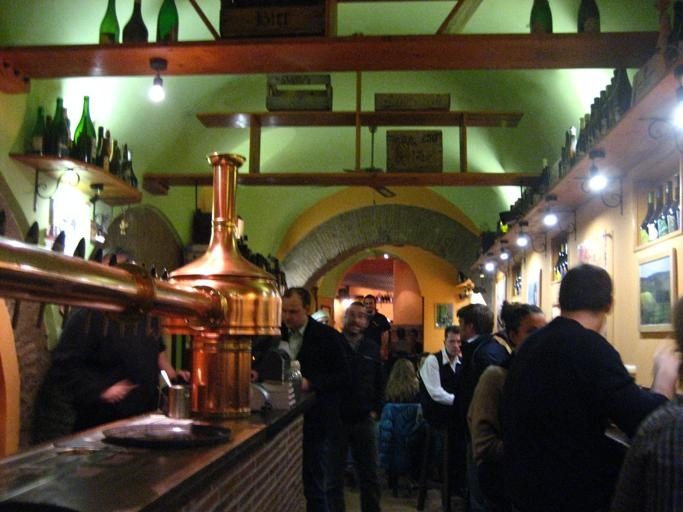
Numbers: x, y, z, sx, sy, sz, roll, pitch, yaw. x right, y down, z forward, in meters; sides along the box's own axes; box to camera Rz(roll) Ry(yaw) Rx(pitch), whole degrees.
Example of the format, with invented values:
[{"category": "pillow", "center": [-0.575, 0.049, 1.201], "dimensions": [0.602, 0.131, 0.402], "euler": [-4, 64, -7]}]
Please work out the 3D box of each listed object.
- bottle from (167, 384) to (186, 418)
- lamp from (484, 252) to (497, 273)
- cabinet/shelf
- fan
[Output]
[{"category": "bottle", "center": [-0.764, 0.665, 2.820], "dimensions": [0.105, 0.148, 0.076], "euler": [-2, -10, 11]}, {"category": "lamp", "center": [2.292, 0.085, 9.493], "dimensions": [0.206, 0.228, 0.316], "euler": [-7, 24, 14]}, {"category": "cabinet/shelf", "center": [0.023, -1.150, 6.566], "dimensions": [3.949, 0.950, 1.299], "euler": [-2, -11, 12]}, {"category": "fan", "center": [0.341, -1.084, 6.423], "dimensions": [0.559, 0.539, 0.427], "euler": [2, 5, 32]}]
